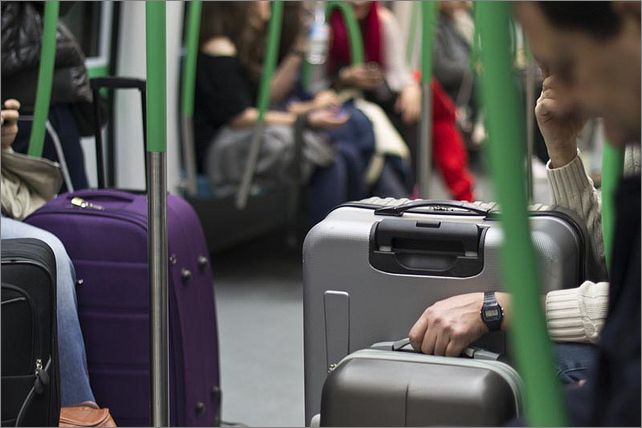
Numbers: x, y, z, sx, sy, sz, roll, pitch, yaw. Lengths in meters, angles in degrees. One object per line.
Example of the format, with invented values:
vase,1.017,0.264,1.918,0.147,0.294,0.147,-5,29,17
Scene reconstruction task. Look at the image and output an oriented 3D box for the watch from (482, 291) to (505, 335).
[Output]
watch,0.381,0.197,2.001,0.036,0.079,0.068,-8,34,12
